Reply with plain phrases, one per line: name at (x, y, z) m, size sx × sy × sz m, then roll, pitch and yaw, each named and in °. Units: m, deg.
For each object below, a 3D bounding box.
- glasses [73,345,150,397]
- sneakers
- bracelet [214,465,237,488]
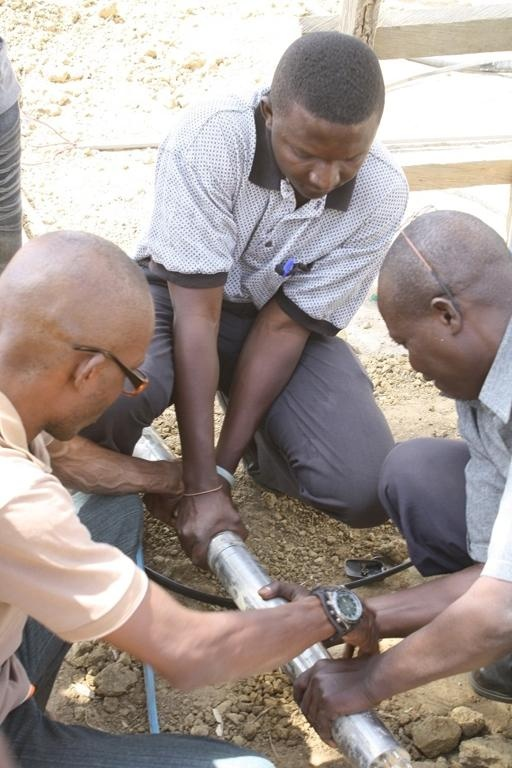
glasses at (-0.279, -0.024, 1.378) m, size 0.101 × 0.028 × 0.094 m, roll 35°, pitch -1°, yaw 10°
sneakers at (0.069, 0.229, 2.625) m, size 0.276 × 0.121 × 0.371 m, roll 47°, pitch -12°, yaw 33°
bracelet at (-0.090, 0.284, 2.195) m, size 0.070 × 0.026 × 0.048 m, roll 38°, pitch 12°, yaw -8°
